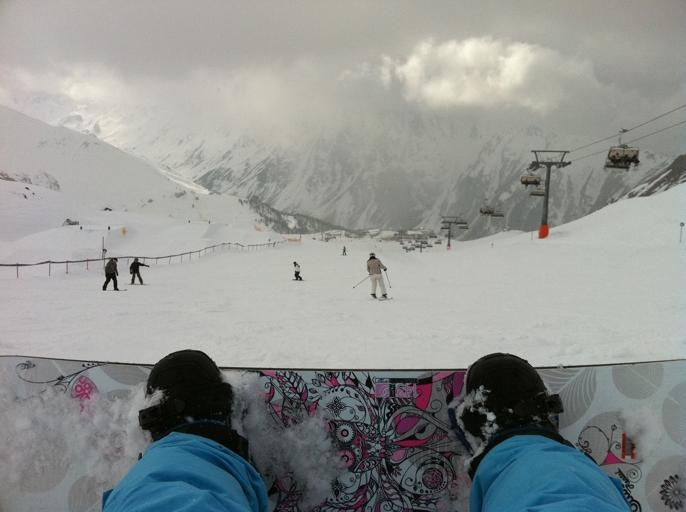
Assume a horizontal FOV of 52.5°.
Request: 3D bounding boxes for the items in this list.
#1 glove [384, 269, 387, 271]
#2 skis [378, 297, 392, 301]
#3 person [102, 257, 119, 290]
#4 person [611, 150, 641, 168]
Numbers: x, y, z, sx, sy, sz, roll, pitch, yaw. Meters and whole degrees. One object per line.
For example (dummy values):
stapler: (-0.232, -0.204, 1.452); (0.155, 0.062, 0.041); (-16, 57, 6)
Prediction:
glove: (0.786, 0.238, 12.754); (0.046, 0.069, 0.063); (-7, -8, 4)
skis: (0.782, 0.771, 12.727); (0.269, 0.091, 0.039); (-7, -36, -11)
person: (-4.170, 0.294, 12.369); (0.281, 0.628, 0.721); (-5, 12, -20)
person: (5.134, -1.761, 12.598); (0.494, 0.390, 0.835); (4, 13, 22)
